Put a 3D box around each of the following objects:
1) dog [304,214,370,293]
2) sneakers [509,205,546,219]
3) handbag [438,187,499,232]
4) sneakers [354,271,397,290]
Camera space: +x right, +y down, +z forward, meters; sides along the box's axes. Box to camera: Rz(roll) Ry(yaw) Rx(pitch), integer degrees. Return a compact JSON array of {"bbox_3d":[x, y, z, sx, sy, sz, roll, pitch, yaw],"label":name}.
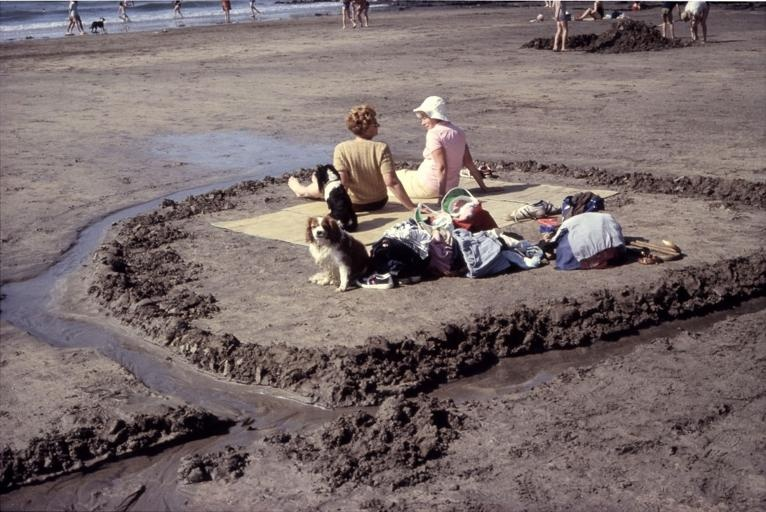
[{"bbox_3d":[-0.570,-0.021,9.348,0.626,0.821,0.955,1,6,40],"label":"dog"},{"bbox_3d":[2.092,-0.611,10.790,0.518,0.213,0.140,0,25,8],"label":"sneakers"},{"bbox_3d":[1.072,-0.673,9.887,0.533,0.243,0.768,-19,47,-29],"label":"handbag"},{"bbox_3d":[-0.100,0.362,9.292,0.474,0.161,0.202,4,3,10],"label":"sneakers"}]
